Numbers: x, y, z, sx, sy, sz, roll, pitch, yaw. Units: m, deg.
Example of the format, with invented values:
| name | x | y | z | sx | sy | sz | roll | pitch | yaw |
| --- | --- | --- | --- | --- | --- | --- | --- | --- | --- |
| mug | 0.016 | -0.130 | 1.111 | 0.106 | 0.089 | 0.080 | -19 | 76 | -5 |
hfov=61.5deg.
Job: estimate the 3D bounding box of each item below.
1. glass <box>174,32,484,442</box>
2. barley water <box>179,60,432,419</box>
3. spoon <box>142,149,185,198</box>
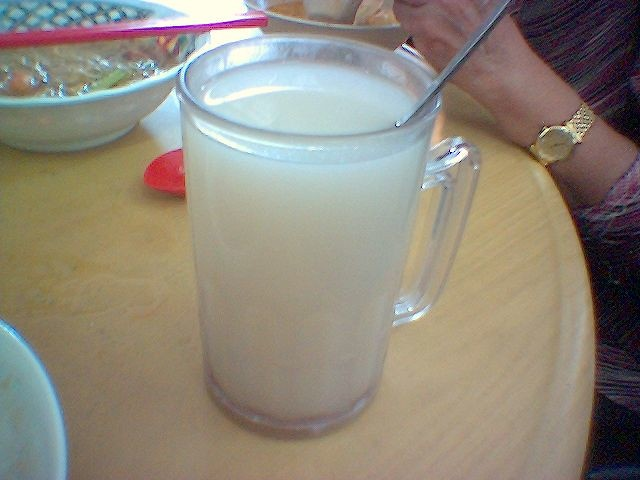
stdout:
| name | x | y | z | sx | sy | sz | roll | pitch | yaw |
| --- | --- | --- | --- | --- | --- | --- | --- | --- | --- |
| glass | 0.048 | -0.044 | 0.574 | 0.325 | 0.372 | 0.280 | 5 | 40 | -2 |
| barley water | -0.021 | 0.022 | 0.437 | 0.192 | 0.263 | 0.179 | 3 | 55 | -11 |
| spoon | -0.195 | -0.087 | 0.689 | 0.059 | 0.020 | 0.071 | -7 | 54 | -4 |
